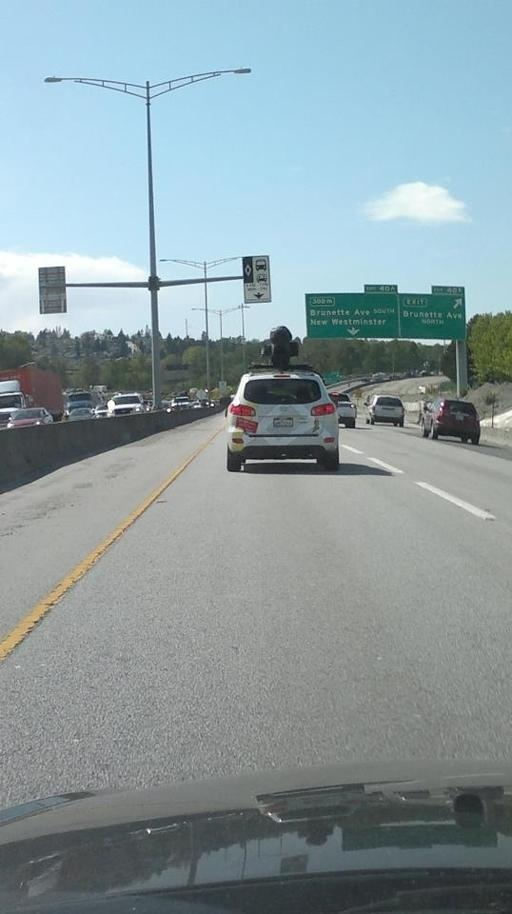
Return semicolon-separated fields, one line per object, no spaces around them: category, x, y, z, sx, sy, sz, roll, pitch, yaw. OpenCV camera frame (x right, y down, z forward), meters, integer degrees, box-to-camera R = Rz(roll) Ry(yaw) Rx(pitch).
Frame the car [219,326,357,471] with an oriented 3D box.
car;0.631;-1.319;16.838;2.196;3.037;6.251;0;2;5
